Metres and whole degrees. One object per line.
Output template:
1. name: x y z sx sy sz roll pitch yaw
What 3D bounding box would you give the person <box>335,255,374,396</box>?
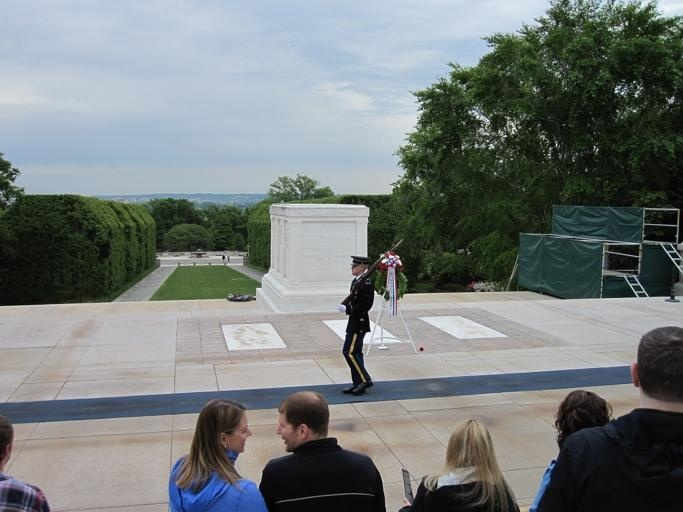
1. person: 0.231 0.963 8.269 0.484 1.826 1.314 1 6 3

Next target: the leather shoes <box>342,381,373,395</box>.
1. leather shoes: 0.226 1.844 7.835 0.333 0.116 0.183 2 -5 -13
